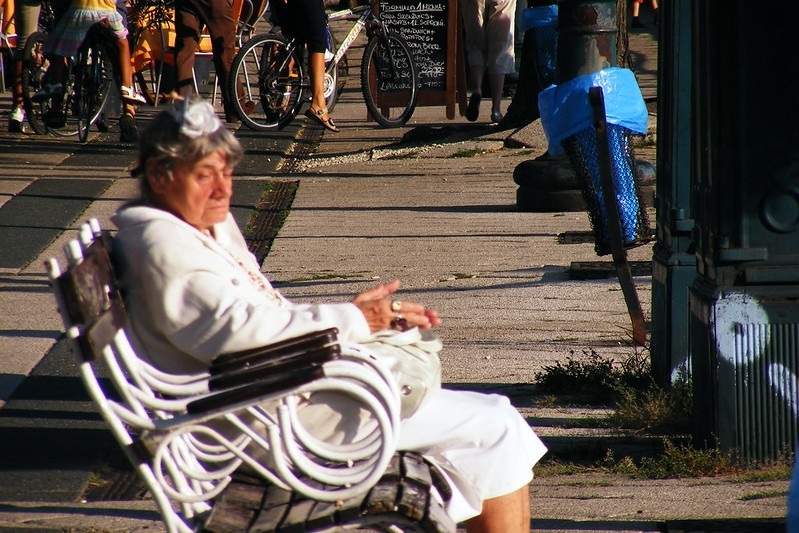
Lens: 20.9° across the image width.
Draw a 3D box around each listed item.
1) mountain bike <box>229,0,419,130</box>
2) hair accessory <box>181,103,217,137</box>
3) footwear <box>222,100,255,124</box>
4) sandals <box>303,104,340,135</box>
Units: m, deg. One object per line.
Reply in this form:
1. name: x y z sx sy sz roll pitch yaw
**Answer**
1. mountain bike: -0.738 -2.013 22.089 0.998 1.274 2.031 5 11 39
2. hair accessory: -1.258 -0.928 13.959 0.267 0.228 0.099 -7 15 -31
3. footwear: -1.601 -1.553 21.887 0.228 0.270 0.301 2 -3 10
4. sandals: -0.753 -1.405 21.322 0.431 0.179 0.162 33 15 -31
